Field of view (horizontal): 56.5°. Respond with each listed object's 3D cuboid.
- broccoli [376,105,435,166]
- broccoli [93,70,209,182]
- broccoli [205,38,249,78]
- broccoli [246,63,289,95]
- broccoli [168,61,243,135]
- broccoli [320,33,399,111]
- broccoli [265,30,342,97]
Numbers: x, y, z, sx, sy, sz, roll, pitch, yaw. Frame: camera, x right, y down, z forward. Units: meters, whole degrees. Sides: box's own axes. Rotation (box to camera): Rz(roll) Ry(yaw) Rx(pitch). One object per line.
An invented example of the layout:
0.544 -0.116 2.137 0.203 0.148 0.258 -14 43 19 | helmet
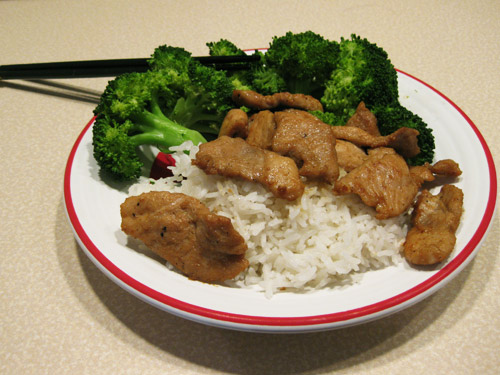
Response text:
1.419 -0.499 4.160 0.436 0.199 0.537 1 47 -45 | broccoli
-1.066 -0.443 4.382 1.079 0.525 0.949 21 69 -15 | broccoli
-0.215 -1.360 4.778 0.409 0.416 0.309 21 33 37 | broccoli
0.171 -1.054 4.636 0.335 0.122 0.322 -23 74 -2 | broccoli
-0.422 -0.877 4.549 0.460 0.729 0.655 7 22 24 | broccoli
1.043 -1.079 4.422 0.648 0.238 0.759 -5 85 6 | broccoli
0.493 -1.218 4.481 0.701 0.627 0.454 16 28 38 | broccoli
